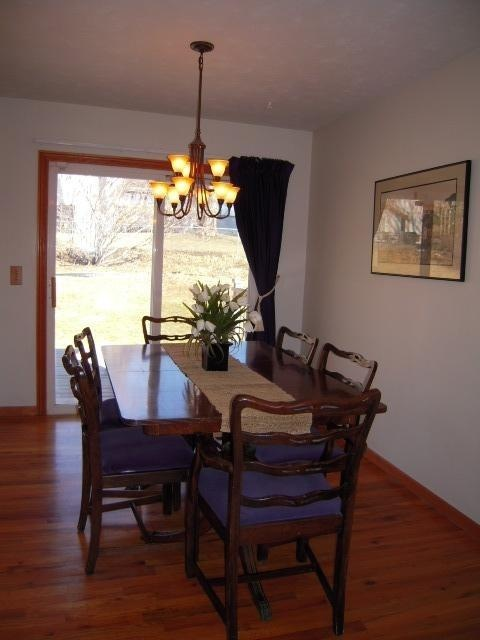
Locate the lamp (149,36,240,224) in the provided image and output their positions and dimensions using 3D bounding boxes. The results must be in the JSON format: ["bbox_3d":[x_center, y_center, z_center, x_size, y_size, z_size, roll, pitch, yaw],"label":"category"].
[{"bbox_3d":[-0.226,-1.042,2.708,0.414,0.930,0.453,1,4,-24],"label":"lamp"}]

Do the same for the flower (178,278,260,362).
[{"bbox_3d":[-0.112,0.005,2.363,0.367,0.406,0.357,2,0,-8],"label":"flower"}]
